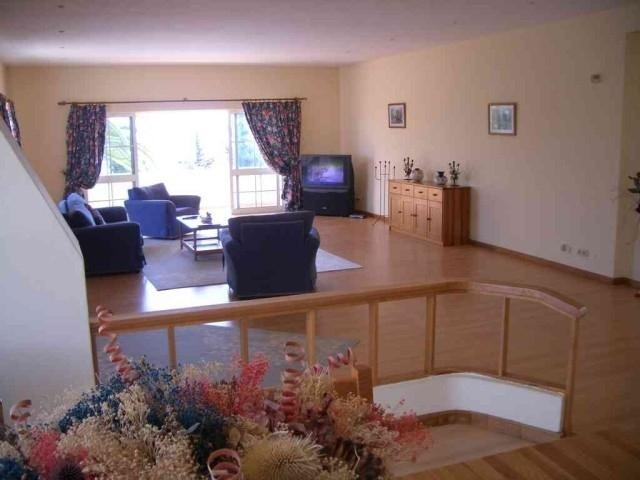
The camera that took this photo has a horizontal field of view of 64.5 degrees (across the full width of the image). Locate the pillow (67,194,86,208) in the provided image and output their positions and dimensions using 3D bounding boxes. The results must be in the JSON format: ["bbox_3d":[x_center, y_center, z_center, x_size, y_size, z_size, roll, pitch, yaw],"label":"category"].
[{"bbox_3d":[-3.603,-0.583,7.481,0.287,0.136,0.306,-7,30,-28],"label":"pillow"}]

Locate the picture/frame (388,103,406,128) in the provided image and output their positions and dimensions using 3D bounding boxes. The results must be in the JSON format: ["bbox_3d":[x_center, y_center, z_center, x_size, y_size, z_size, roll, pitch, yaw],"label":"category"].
[{"bbox_3d":[1.484,-2.371,9.650,0.106,0.489,0.559,-7,13,-18],"label":"picture/frame"}]

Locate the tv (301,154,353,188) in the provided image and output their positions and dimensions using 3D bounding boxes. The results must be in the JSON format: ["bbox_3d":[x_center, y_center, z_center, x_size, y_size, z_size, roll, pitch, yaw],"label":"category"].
[{"bbox_3d":[0.190,-1.483,10.909,1.239,0.683,0.854,2,5,15],"label":"tv"}]

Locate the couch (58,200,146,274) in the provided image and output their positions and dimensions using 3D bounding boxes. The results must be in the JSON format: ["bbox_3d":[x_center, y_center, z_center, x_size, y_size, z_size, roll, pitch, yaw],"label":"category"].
[{"bbox_3d":[-3.140,-0.087,7.314,0.920,0.915,1.290,-2,16,-28],"label":"couch"}]

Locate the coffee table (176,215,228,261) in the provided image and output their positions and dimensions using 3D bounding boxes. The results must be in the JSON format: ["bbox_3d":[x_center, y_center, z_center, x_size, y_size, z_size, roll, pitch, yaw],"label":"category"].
[{"bbox_3d":[-1.871,-0.079,8.123,0.797,0.606,0.923,-8,19,-31],"label":"coffee table"}]

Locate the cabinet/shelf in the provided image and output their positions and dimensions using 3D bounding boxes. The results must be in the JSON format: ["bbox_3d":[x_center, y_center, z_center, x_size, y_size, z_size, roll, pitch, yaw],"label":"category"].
[{"bbox_3d":[1.814,-0.533,8.804,0.517,1.007,1.572,-10,16,-27],"label":"cabinet/shelf"}]

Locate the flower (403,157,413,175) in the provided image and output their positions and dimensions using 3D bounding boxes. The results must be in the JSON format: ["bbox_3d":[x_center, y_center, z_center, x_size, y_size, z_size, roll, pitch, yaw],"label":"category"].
[{"bbox_3d":[1.662,-1.398,9.469,0.195,0.337,0.492,-1,12,9],"label":"flower"}]

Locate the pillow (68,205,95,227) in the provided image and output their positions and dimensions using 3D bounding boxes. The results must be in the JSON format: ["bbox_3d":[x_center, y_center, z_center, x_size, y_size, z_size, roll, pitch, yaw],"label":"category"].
[{"bbox_3d":[-3.191,-0.312,6.713,0.236,0.259,0.075,-7,-5,-9],"label":"pillow"}]

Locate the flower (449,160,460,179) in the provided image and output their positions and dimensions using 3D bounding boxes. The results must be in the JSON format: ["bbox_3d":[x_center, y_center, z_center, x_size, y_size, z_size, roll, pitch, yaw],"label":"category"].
[{"bbox_3d":[2.205,-1.156,8.320,0.177,0.317,0.424,0,13,14],"label":"flower"}]

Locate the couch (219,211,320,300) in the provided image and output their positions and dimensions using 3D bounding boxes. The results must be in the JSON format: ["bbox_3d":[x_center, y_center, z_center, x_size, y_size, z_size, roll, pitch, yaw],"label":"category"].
[{"bbox_3d":[-0.598,-0.011,6.229,1.144,1.027,1.170,-1,24,-5],"label":"couch"}]
